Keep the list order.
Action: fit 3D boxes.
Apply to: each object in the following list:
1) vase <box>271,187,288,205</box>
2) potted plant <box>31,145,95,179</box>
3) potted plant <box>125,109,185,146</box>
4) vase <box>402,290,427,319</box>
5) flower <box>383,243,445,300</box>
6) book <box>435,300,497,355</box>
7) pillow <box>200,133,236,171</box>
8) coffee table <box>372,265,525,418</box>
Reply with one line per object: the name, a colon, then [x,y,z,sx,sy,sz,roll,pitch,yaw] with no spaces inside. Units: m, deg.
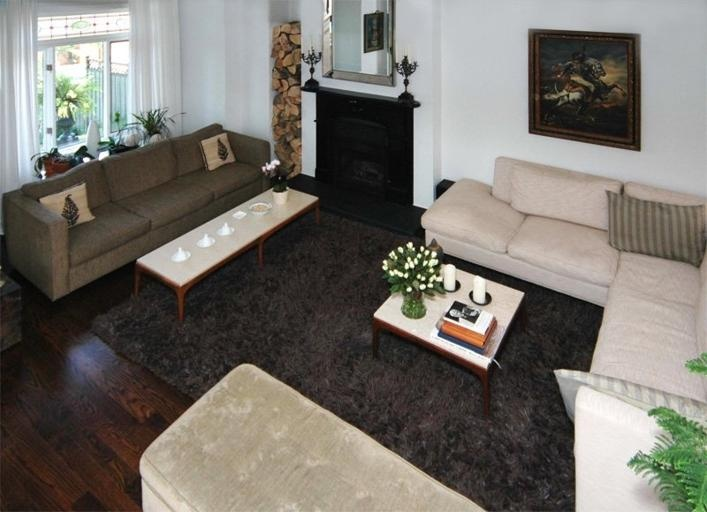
vase: [-0.805,-0.661,5.558,0.172,0.135,0.145,1,17,-4]
potted plant: [-3.398,-1.095,6.016,0.533,0.248,0.560,9,17,26]
potted plant: [-2.732,-1.749,6.896,0.525,0.403,0.576,4,20,8]
vase: [0.467,0.383,3.969,0.186,0.224,0.201,0,12,2]
flower: [0.475,0.145,3.959,0.489,0.538,0.355,-5,26,-13]
book: [0.839,0.516,3.750,0.325,0.125,0.338,23,42,29]
pillow: [-1.687,-1.295,6.247,0.128,0.426,0.448,-5,20,38]
coffee table: [0.865,0.491,3.998,0.974,0.511,1.019,17,40,32]
